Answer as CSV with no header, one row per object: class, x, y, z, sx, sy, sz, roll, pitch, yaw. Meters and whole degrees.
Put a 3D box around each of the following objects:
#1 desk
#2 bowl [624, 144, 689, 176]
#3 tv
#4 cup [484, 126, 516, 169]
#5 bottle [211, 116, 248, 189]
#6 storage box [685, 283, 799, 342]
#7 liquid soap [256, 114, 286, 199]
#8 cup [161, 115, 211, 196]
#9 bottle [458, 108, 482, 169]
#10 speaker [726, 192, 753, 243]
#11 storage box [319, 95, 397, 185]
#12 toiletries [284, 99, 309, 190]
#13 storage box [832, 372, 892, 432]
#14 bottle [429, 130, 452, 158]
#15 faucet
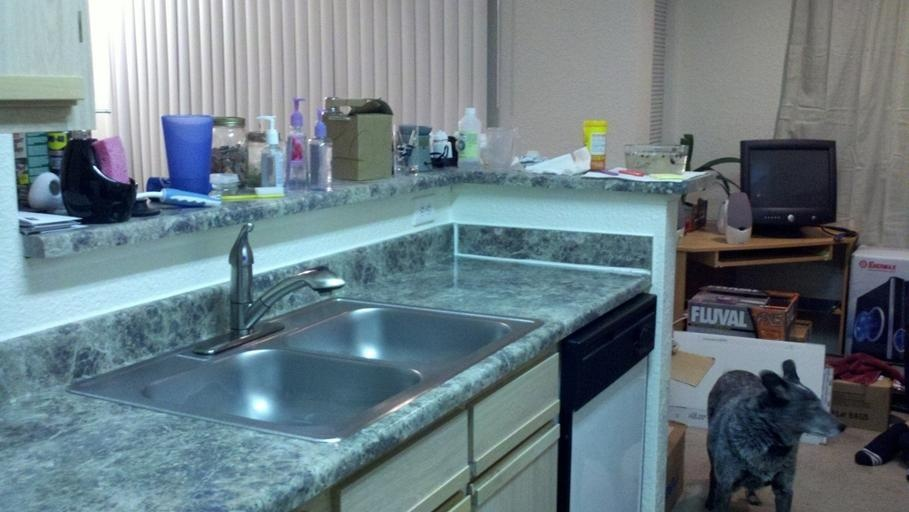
desk,2.040,0.194,4.100,0.974,0.557,0.484,6,25,17
bowl,0.861,-0.414,2.709,0.245,0.114,0.151,1,15,12
tv,2.254,-0.492,4.236,0.644,0.551,0.219,-3,15,-2
cup,0.197,-0.479,2.837,0.152,0.176,0.113,-2,15,2
bottle,-0.780,-0.356,2.182,0.149,0.233,0.087,-10,17,-24
storage box,1.783,0.350,3.942,0.561,0.254,0.549,7,16,32
liquid soap,-0.663,-0.360,2.262,0.107,0.265,0.280,-7,15,-14
cup,-0.848,-0.331,2.074,0.115,0.250,0.194,7,17,31
bottle,0.065,-0.559,2.970,0.109,0.257,0.215,-2,15,1
speaker,1.835,-0.251,4.087,0.158,0.301,0.242,3,16,21
storage box,-0.385,-0.444,2.499,0.349,0.382,0.260,17,24,42
toiletries,-0.612,-0.433,2.411,0.088,0.324,0.266,-6,15,-12
storage box,2.476,0.829,3.846,0.366,0.220,0.358,4,11,31
bottle,-0.085,-0.516,2.927,0.103,0.114,0.175,-9,16,-23
faucet,-0.542,0.077,1.930,0.389,0.346,0.183,10,20,39
